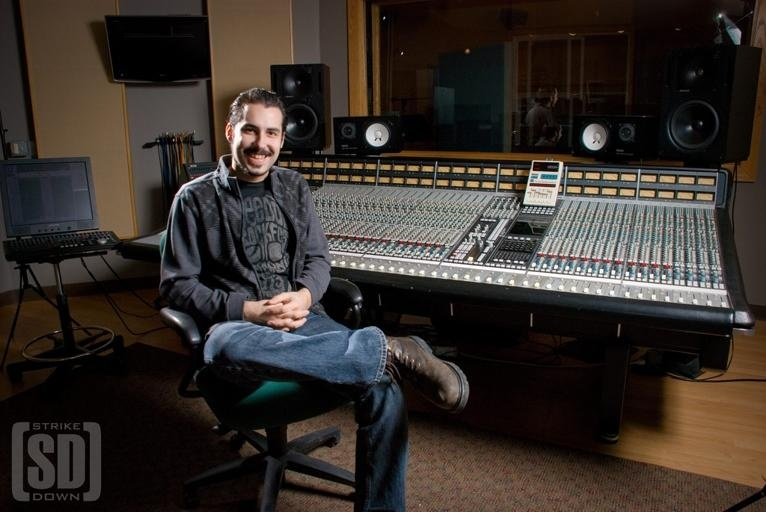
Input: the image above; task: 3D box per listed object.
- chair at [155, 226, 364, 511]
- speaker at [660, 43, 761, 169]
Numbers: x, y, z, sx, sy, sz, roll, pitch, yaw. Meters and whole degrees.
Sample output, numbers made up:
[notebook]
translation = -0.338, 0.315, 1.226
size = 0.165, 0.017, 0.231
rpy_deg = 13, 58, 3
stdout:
[chair]
translation = -0.539, 0.583, 2.677
size = 0.922, 1.309, 0.742
rpy_deg = -6, 14, -21
[speaker]
translation = 1.935, -0.871, 3.214
size = 0.562, 0.654, 0.258
rpy_deg = -1, 13, -3
